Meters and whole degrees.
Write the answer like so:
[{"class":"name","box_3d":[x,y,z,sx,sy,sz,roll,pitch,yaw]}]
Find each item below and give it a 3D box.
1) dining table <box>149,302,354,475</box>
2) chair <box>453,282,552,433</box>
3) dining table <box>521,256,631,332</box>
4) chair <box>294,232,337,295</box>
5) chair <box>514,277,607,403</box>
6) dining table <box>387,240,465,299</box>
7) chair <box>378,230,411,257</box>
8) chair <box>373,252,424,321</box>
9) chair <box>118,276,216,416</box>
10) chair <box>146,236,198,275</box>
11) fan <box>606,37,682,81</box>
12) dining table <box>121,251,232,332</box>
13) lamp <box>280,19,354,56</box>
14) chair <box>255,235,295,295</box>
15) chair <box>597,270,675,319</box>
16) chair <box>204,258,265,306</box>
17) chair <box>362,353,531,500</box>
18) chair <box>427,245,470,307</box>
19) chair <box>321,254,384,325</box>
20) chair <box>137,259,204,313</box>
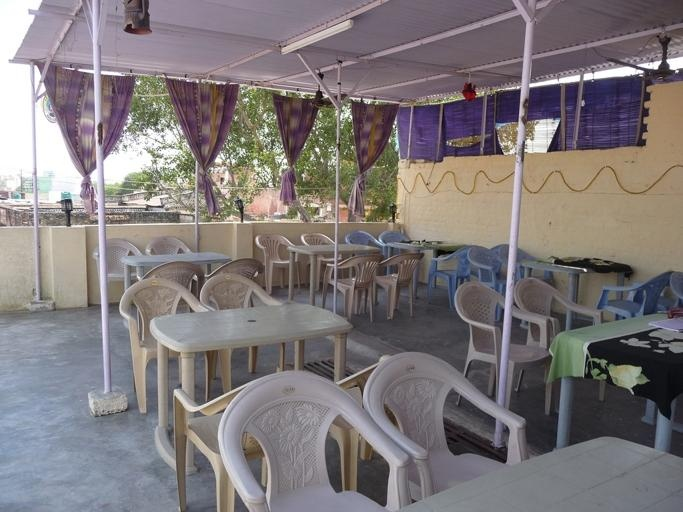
[{"class":"dining table","box_3d":[-0.659,0.729,3.803,1.314,0.850,0.790,-5,29,-25]},{"class":"chair","box_3d":[1.340,0.778,4.148,0.715,1.028,0.751,-4,7,-26]},{"class":"dining table","box_3d":[3.055,0.258,6.642,1.026,0.845,1.104,-6,13,-22]},{"class":"chair","box_3d":[-0.260,0.040,8.673,0.814,1.103,0.818,-1,1,-26]},{"class":"chair","box_3d":[1.821,0.737,4.308,0.615,0.996,0.681,-7,12,-15]},{"class":"dining table","box_3d":[1.636,0.171,8.417,0.973,0.736,0.772,3,12,-21]},{"class":"chair","box_3d":[0.963,-0.281,8.984,0.514,0.629,0.485,-2,5,-22]},{"class":"chair","box_3d":[0.712,0.350,6.930,0.616,0.971,0.659,-8,18,-37]},{"class":"chair","box_3d":[-1.405,0.683,3.992,0.701,0.911,0.708,0,8,-11]},{"class":"chair","box_3d":[-2.567,-0.038,7.411,0.425,0.578,0.426,-5,7,-29]},{"class":"fan","box_3d":[3.698,-2.420,6.041,0.709,0.282,0.705,-3,10,-37]},{"class":"dining table","box_3d":[-2.155,0.316,6.315,1.020,0.722,0.549,-5,13,-31]},{"class":"lamp","box_3d":[-0.240,-2.550,5.826,0.335,0.131,1.437,-6,13,-35]},{"class":"chair","box_3d":[-1.118,0.095,8.322,0.568,0.823,0.595,6,11,10]},{"class":"chair","box_3d":[3.368,0.423,5.647,0.444,0.660,0.486,-5,16,-13]},{"class":"chair","box_3d":[-1.060,0.242,4.850,0.425,0.582,0.437,-13,29,-36]},{"class":"chair","box_3d":[0.572,0.940,2.731,0.708,0.966,0.703,-10,11,-31]},{"class":"chair","box_3d":[1.523,0.265,7.549,0.629,0.832,0.666,9,8,41]},{"class":"chair","box_3d":[0.181,0.335,6.721,0.697,0.945,0.667,18,23,41]},{"class":"chair","box_3d":[-1.538,0.275,4.508,0.407,0.562,0.390,-10,29,-38]}]
